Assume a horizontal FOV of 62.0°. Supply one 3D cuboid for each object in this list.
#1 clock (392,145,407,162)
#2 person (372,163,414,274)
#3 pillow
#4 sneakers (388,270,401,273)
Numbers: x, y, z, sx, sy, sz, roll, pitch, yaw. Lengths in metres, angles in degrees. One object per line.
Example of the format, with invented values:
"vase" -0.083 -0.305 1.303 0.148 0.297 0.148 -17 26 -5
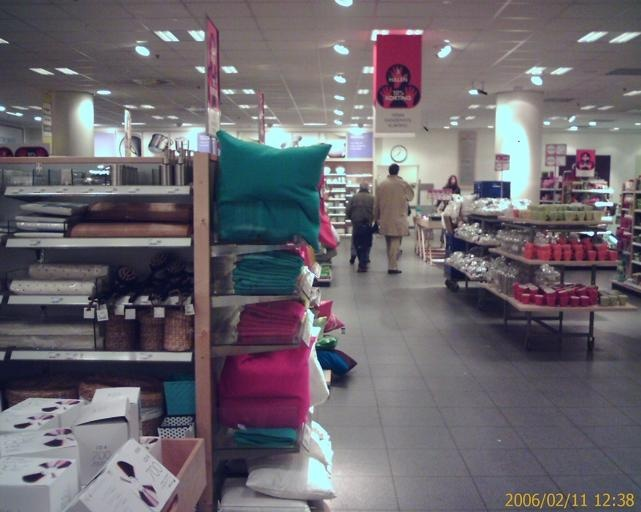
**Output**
"clock" 2.980 -3.960 20.457 0.600 0.614 0.061 -3 14 8
"person" 1.385 -0.720 10.266 0.722 2.069 0.703 1 9 9
"pillow" -0.269 -0.351 2.774 0.583 0.590 0.250 -2 9 -11
"sneakers" 1.404 0.287 10.229 0.246 0.097 0.085 -2 7 -3
